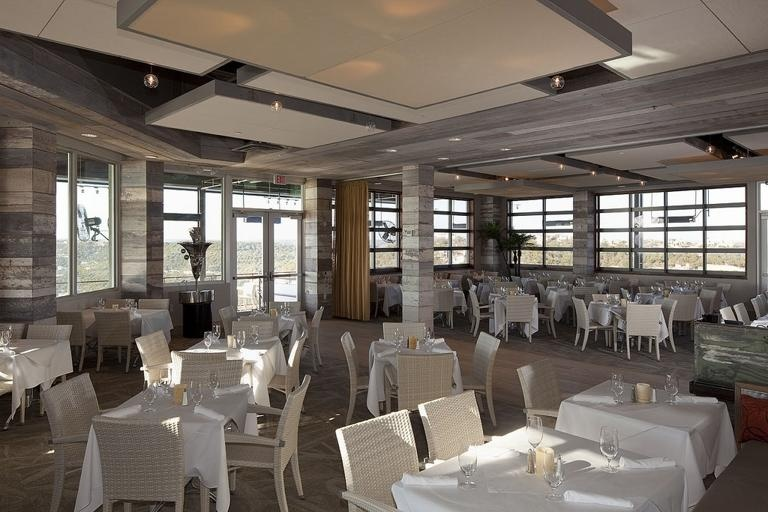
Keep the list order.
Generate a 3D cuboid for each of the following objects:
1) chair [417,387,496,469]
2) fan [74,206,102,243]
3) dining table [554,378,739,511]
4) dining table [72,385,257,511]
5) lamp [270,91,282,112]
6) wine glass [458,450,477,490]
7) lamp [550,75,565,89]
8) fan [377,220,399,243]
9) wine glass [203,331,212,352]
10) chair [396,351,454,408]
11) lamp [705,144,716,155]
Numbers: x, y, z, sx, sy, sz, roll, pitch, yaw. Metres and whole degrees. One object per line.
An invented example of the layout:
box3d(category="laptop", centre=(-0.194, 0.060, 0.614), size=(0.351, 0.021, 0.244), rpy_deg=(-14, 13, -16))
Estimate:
box3d(category="chair", centre=(0.574, 1.604, 4.891), size=(0.573, 0.871, 0.694), rpy_deg=(-7, -1, -28))
box3d(category="fan", centre=(-6.006, -0.693, 10.202), size=(0.417, 0.584, 0.659), rpy_deg=(-6, -2, -23))
box3d(category="dining table", centre=(2.593, 1.632, 4.778), size=(1.139, 0.458, 1.155), rpy_deg=(1, 3, 41))
box3d(category="dining table", centre=(-1.986, 1.679, 4.721), size=(1.304, 0.565, 1.590), rpy_deg=(1, 1, -2))
box3d(category="lamp", centre=(-1.540, -2.191, 7.110), size=(0.158, 0.227, 0.240), rpy_deg=(-1, -1, -11))
box3d(category="wine glass", centre=(0.632, 1.608, 3.866), size=(0.129, 0.278, 0.246), rpy_deg=(-2, -1, 10))
box3d(category="lamp", centre=(2.219, -2.254, 6.466), size=(0.170, 0.158, 0.063), rpy_deg=(17, 43, 22))
box3d(category="fan", centre=(0.097, -0.795, 16.272), size=(0.707, 0.751, 0.090), rpy_deg=(-1, 0, -38))
box3d(category="wine glass", centre=(-2.452, 1.177, 6.921), size=(0.103, 0.247, 0.242), rpy_deg=(-2, -1, -19))
box3d(category="chair", centre=(0.408, 1.453, 6.154), size=(0.708, 0.881, 0.671), rpy_deg=(-1, 5, -6))
box3d(category="lamp", centre=(6.549, -2.188, 10.083), size=(0.264, 0.229, 0.059), rpy_deg=(18, -12, -37))
